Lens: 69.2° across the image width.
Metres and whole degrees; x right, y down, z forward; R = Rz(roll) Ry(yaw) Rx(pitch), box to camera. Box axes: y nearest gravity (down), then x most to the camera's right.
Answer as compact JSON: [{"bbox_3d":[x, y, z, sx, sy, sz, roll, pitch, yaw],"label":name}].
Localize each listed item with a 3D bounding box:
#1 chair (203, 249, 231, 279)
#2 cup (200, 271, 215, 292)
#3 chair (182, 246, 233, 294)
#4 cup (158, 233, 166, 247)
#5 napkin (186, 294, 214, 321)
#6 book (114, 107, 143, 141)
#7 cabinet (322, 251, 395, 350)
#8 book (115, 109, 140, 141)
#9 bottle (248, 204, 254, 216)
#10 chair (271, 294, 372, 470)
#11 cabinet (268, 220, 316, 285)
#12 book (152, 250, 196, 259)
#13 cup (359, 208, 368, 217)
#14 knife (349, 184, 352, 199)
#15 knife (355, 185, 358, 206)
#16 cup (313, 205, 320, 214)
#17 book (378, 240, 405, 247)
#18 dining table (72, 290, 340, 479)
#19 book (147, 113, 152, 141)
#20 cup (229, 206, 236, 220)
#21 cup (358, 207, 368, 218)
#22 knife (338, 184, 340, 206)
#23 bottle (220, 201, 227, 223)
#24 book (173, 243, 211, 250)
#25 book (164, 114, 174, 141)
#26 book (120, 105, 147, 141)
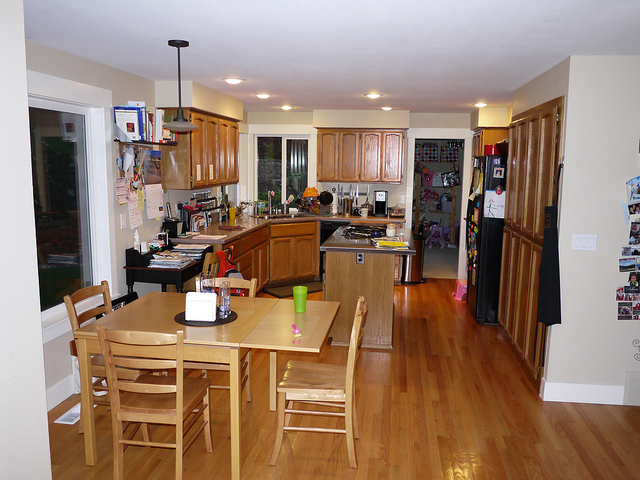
[{"bbox_3d":[-1.041,0.252,4.668,0.226,0.365,0.215,5,10,19],"label":"chair"},{"bbox_3d":[-0.878,0.329,3.593,0.137,0.162,0.143,1,6,0],"label":"cup"},{"bbox_3d":[-1.131,0.275,4.932,0.469,0.713,0.417,4,5,6],"label":"chair"},{"bbox_3d":[-1.816,-0.029,5.288,0.060,0.115,0.061,1,13,0],"label":"cup"},{"bbox_3d":[-0.866,0.487,3.327,0.204,0.180,0.055,1,12,2],"label":"napkin"},{"bbox_3d":[-1.912,-1.153,4.578,0.318,0.438,0.046,1,10,-3],"label":"book"},{"bbox_3d":[0.541,0.513,5.676,0.924,1.199,1.300,1,12,2],"label":"cabinet"},{"bbox_3d":[-1.926,-1.142,4.604,0.271,0.384,0.043,-3,45,-23],"label":"book"},{"bbox_3d":[-1.161,-0.494,7.679,0.089,0.145,0.240,-2,12,-12],"label":"bottle"},{"bbox_3d":[0.004,1.019,3.427,0.759,1.063,0.777,4,5,26],"label":"chair"},{"bbox_3d":[-0.538,0.137,7.504,0.835,1.040,0.520,-6,14,-29],"label":"cabinet"},{"bbox_3d":[-1.544,0.174,4.909,0.426,0.067,0.231,-3,13,-19],"label":"book"},{"bbox_3d":[0.712,-0.459,7.703,0.099,0.140,0.319,0,12,-3],"label":"cup"},{"bbox_3d":[0.518,-0.845,8.015,0.048,0.214,0.070,2,12,4],"label":"knife"},{"bbox_3d":[0.617,-0.767,8.025,0.044,0.308,0.060,0,12,-3],"label":"knife"},{"bbox_3d":[-0.070,-0.515,7.783,0.069,0.150,0.169,4,12,17],"label":"cup"},{"bbox_3d":[0.781,0.045,5.133,0.291,0.016,0.296,3,12,8],"label":"book"},{"bbox_3d":[-0.786,0.887,3.485,1.548,0.903,1.237,1,9,7],"label":"dining table"},{"bbox_3d":[-1.741,-1.144,4.710,0.015,0.259,0.077,6,13,23],"label":"book"},{"bbox_3d":[-1.334,-0.402,6.952,0.078,0.188,0.149,-2,12,-13],"label":"cup"},{"bbox_3d":[0.702,-0.446,7.673,0.174,0.178,0.119,1,3,9],"label":"cup"},{"bbox_3d":[0.313,-0.789,8.068,0.038,0.373,0.019,2,-3,-5],"label":"knife"},{"bbox_3d":[-1.459,-0.428,6.937,0.106,0.278,0.241,-2,12,-11],"label":"bottle"},{"bbox_3d":[-1.466,0.067,5.301,0.391,0.024,0.336,0,12,-4],"label":"book"},{"bbox_3d":[-1.640,-1.219,5.027,0.099,0.286,0.665,-3,13,-17],"label":"book"},{"bbox_3d":[-1.866,-1.159,4.583,0.338,0.469,0.047,0,8,-5],"label":"book"}]
